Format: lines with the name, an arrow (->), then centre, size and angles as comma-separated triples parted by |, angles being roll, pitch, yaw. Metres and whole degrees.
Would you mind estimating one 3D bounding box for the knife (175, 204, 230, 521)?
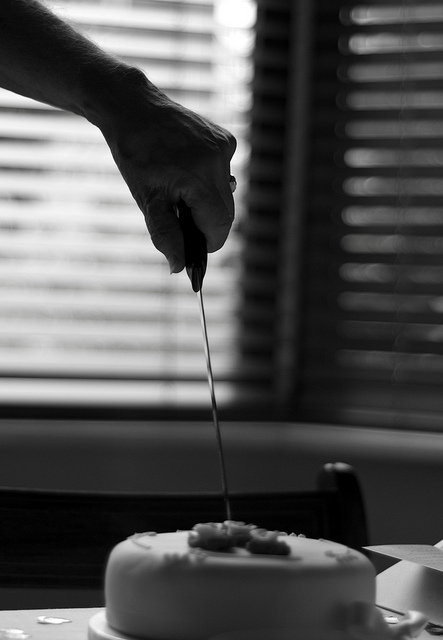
knife -> -0.033, 0.092, 1.144 | 0.067, 0.493, 0.057 | -8, -17, -4
